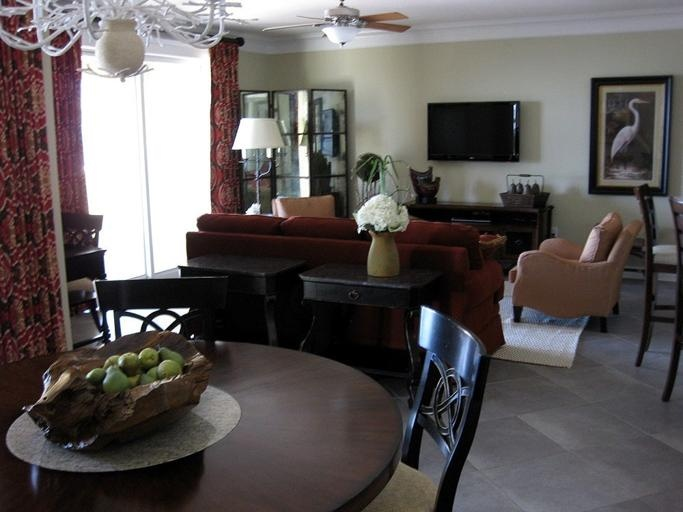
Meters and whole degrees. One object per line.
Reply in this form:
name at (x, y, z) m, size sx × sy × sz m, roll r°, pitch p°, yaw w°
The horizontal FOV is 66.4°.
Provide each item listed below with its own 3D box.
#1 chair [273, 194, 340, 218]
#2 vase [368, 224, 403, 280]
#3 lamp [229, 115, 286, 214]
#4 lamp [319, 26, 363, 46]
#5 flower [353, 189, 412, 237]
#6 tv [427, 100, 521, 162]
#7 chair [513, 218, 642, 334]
chair at (-0.452, -0.621, 6.398) m, size 0.581 × 0.402 × 0.310 m, roll -6°, pitch 18°, yaw -31°
vase at (0.254, -0.026, 3.279) m, size 0.211 × 0.281 × 0.196 m, roll -5°, pitch 11°, yaw -24°
lamp at (-0.978, -1.038, 6.275) m, size 0.556 × 1.127 × 0.561 m, roll 8°, pitch 12°, yaw 40°
lamp at (-0.015, -1.965, 4.626) m, size 0.304 × 0.140 × 0.303 m, roll -5°, pitch 12°, yaw -21°
flower at (0.257, -0.233, 3.230) m, size 0.309 × 0.156 × 0.312 m, roll -5°, pitch 25°, yaw 16°
tv at (1.712, -1.643, 6.884) m, size 1.260 × 0.769 × 0.109 m, roll -2°, pitch 5°, yaw -5°
chair at (2.098, 0.155, 4.823) m, size 1.099 × 1.023 × 0.997 m, roll 2°, pitch 7°, yaw 27°
